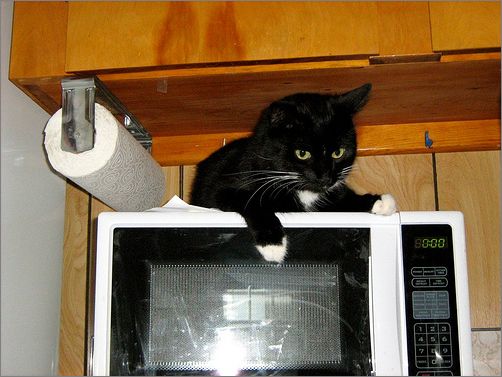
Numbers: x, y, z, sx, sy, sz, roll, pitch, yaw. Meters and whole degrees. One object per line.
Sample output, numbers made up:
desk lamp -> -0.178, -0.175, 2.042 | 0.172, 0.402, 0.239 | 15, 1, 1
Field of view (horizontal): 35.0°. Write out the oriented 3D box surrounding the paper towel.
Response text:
paper towel -> -0.374, -0.015, 2.048 | 0.236, 0.425, 0.235 | 6, 65, 5

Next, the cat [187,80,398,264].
cat -> 0.109, -0.062, 2.282 | 0.414, 0.630, 0.456 | -7, 105, -24
